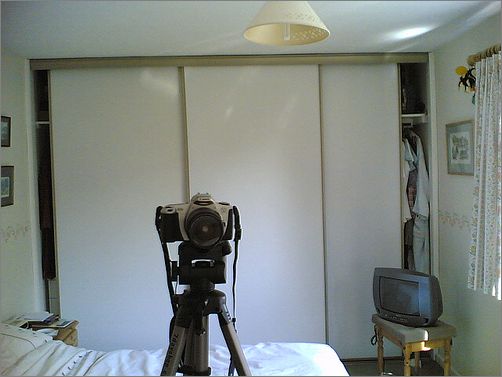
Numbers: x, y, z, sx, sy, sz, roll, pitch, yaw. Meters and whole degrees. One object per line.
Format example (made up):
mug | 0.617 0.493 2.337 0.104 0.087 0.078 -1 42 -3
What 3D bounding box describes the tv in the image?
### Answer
tv | 1.411 0.957 3.761 0.331 0.464 0.583 -2 -1 -40
